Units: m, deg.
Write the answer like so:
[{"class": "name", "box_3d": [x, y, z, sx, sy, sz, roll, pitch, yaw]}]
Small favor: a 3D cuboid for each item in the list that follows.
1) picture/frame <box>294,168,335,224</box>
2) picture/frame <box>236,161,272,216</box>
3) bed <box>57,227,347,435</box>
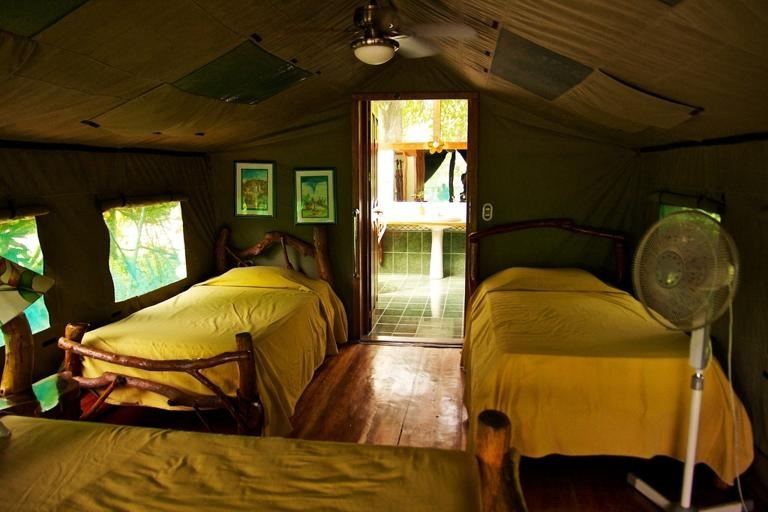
[{"class": "picture/frame", "box_3d": [-0.721, -0.650, 5.569, 0.567, 0.736, 0.075, 0, 3, 1]}, {"class": "picture/frame", "box_3d": [-1.382, -0.742, 5.679, 0.554, 0.713, 0.045, 1, 6, 3]}, {"class": "bed", "box_3d": [-1.261, 0.656, 4.461, 1.274, 0.912, 1.634, 1, 7, 11]}]
